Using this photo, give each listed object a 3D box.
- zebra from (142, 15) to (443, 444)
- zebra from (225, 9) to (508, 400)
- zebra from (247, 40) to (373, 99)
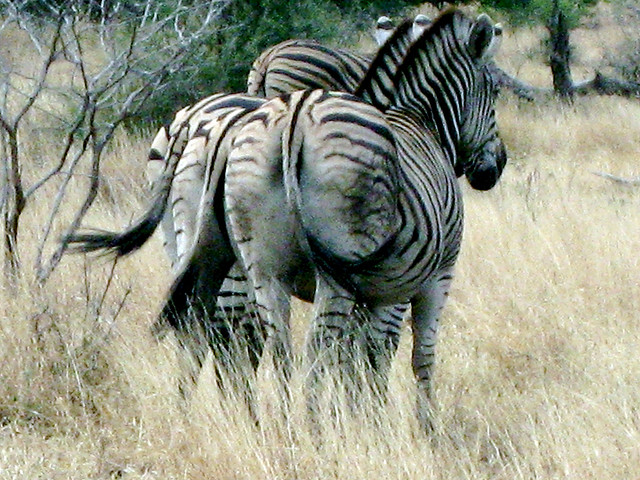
[{"bbox_3d":[0.510,0.107,14.202,1.448,5.156,6.418,-2,-1,19],"label":"zebra"},{"bbox_3d":[0.629,-0.294,13.314,1.405,4.220,4.581,3,7,23],"label":"zebra"},{"bbox_3d":[-0.160,-1.717,13.095,1.368,0.605,0.873,-2,-9,2],"label":"zebra"}]
